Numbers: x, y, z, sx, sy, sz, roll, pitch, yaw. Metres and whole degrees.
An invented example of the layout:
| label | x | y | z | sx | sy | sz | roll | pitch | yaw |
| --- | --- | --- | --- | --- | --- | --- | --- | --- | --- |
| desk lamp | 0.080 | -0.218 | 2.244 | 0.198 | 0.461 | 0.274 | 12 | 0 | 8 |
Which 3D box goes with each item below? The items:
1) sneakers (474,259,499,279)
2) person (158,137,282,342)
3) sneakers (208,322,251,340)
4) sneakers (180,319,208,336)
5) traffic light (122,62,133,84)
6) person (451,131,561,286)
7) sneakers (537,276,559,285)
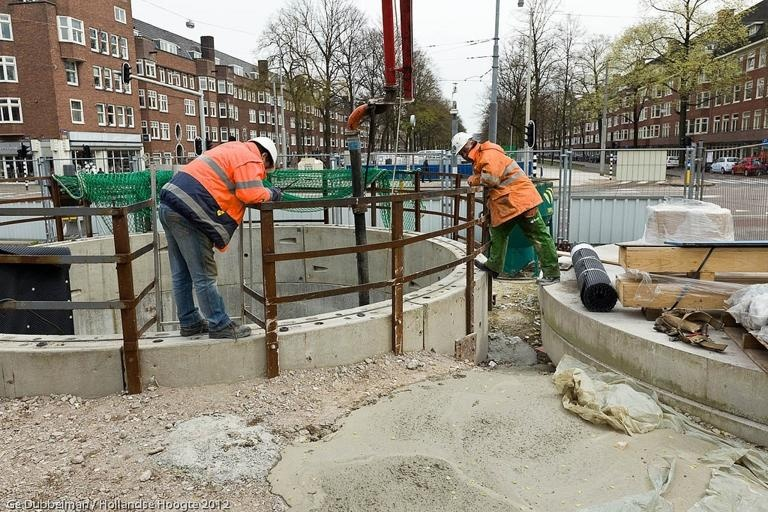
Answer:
| label | x | y | z | sx | sy | sz | roll | pitch | yaw |
| --- | --- | --- | --- | --- | --- | --- | --- | --- | --- |
| sneakers | 1.531 | 0.193 | 8.069 | 0.351 | 0.152 | 0.119 | 35 | 15 | 11 |
| person | -1.679 | -0.186 | 5.664 | 1.180 | 2.025 | 0.765 | -7 | 9 | -14 |
| sneakers | -1.559 | 0.784 | 5.588 | 0.276 | 0.127 | 0.221 | -2 | 2 | -9 |
| sneakers | -1.990 | 0.761 | 5.789 | 0.293 | 0.126 | 0.128 | -10 | 18 | -30 |
| traffic light | -9.248 | -6.643 | 19.570 | 0.274 | 0.710 | 0.586 | -9 | 10 | -25 |
| person | 1.903 | -0.746 | 8.243 | 1.393 | 2.322 | 0.697 | -5 | 9 | -1 |
| sneakers | 2.492 | 0.365 | 8.166 | 0.323 | 0.134 | 0.119 | 3 | 0 | -10 |
